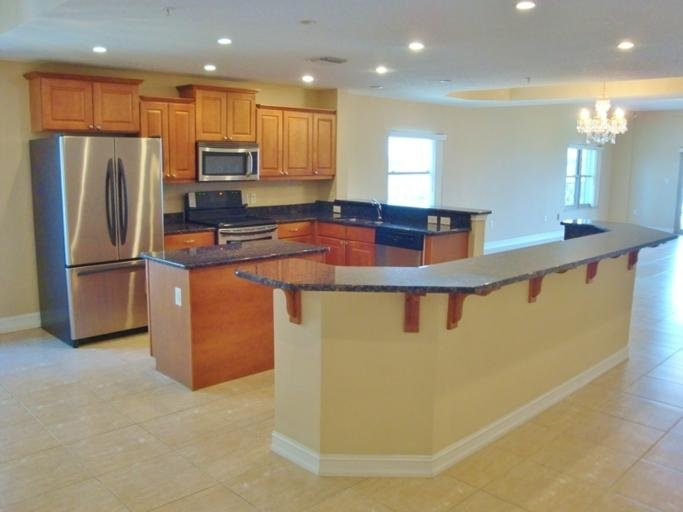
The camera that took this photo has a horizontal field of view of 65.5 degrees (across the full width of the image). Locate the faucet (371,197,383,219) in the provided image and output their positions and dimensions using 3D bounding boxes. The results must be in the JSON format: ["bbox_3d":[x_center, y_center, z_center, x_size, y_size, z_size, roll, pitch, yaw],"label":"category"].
[{"bbox_3d":[0.482,-0.603,7.181,0.116,0.241,0.220,-4,12,-11],"label":"faucet"}]

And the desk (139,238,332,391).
[{"bbox_3d":[-1.050,0.505,4.743,1.287,1.130,0.638,-6,13,-21],"label":"desk"}]

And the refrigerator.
[{"bbox_3d":[-2.545,-0.186,5.560,1.419,2.078,0.734,-5,13,-15],"label":"refrigerator"}]

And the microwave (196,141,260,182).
[{"bbox_3d":[-1.426,-1.178,6.599,0.820,0.501,0.518,-3,5,-44],"label":"microwave"}]

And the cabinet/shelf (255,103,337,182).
[{"bbox_3d":[-0.670,-1.561,7.243,1.171,0.933,0.445,-4,9,-32],"label":"cabinet/shelf"}]
